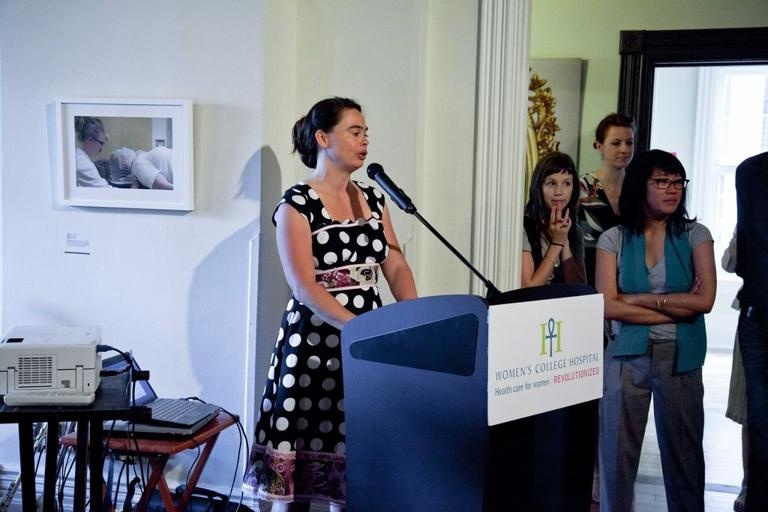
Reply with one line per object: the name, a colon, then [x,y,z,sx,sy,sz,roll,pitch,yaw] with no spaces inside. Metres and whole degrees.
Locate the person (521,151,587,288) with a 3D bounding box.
person: [1.084,-0.251,4.021,0.395,0.838,0.544,1,5,15]

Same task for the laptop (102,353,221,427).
laptop: [-1.071,0.729,3.105,0.386,0.266,0.417,5,6,12]

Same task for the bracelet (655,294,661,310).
bracelet: [1.420,0.250,3.283,0.013,0.052,0.027,-1,5,-27]

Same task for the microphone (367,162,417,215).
microphone: [0.025,-0.299,2.763,0.188,0.215,0.317,-1,5,-2]

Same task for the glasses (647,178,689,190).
glasses: [1.528,-0.380,3.355,0.243,0.060,0.095,-3,6,-28]

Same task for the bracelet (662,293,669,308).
bracelet: [1.445,0.228,3.257,0.011,0.050,0.035,13,-13,-36]
